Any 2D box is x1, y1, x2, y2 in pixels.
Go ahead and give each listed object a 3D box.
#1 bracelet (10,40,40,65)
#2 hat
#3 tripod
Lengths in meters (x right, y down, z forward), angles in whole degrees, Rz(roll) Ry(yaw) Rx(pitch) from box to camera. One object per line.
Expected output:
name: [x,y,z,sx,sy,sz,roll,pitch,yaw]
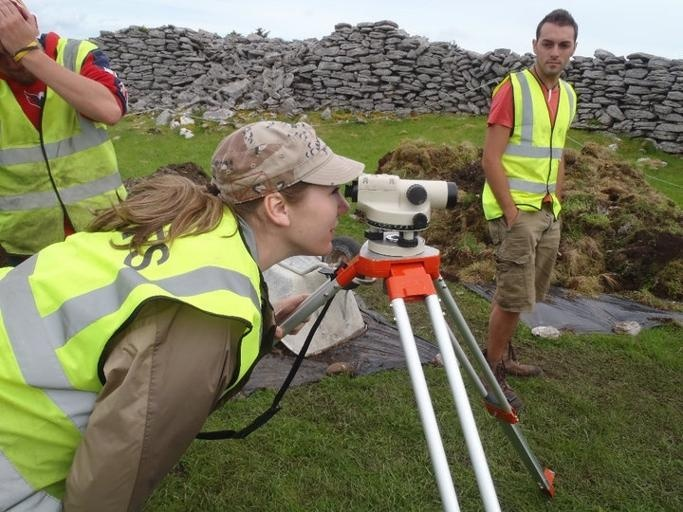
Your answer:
bracelet: [-1.466,-0.973,2.338,0.112,0.089,0.055,-11,26,-32]
hat: [-0.200,-0.396,1.937,0.604,0.249,0.400,-5,24,-5]
tripod: [0.427,0.775,3.071,1.445,0.900,1.083,-1,-7,-24]
